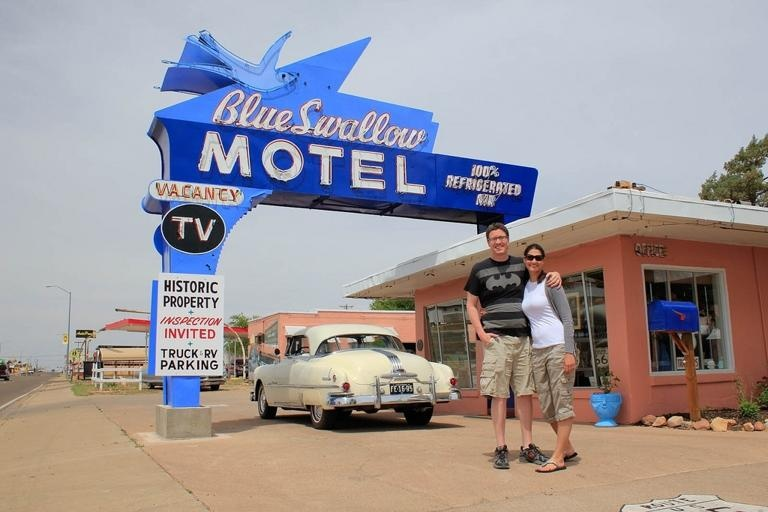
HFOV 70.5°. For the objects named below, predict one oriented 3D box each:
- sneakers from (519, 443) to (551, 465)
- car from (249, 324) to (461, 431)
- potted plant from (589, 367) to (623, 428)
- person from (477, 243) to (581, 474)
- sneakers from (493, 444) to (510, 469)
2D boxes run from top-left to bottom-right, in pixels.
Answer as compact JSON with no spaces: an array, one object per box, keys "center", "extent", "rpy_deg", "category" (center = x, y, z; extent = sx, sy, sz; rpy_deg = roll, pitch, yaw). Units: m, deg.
[{"center":[1.832,2.430,6.669],"extent":[0.167,0.219,0.374],"rpy_deg":[7,-9,-43],"category":"sneakers"},{"center":[-1.046,2.465,11.364],"extent":[2.177,1.284,3.453],"rpy_deg":[6,-9,-34],"category":"car"},{"center":[4.250,2.718,10.445],"extent":[0.636,1.052,0.391],"rpy_deg":[8,-15,-36],"category":"potted plant"},{"center":[1.967,1.173,6.482],"extent":[0.551,2.649,0.433],"rpy_deg":[-5,-12,17],"category":"person"},{"center":[1.425,2.405,6.484],"extent":[0.236,0.254,0.167],"rpy_deg":[6,-14,-32],"category":"sneakers"}]
